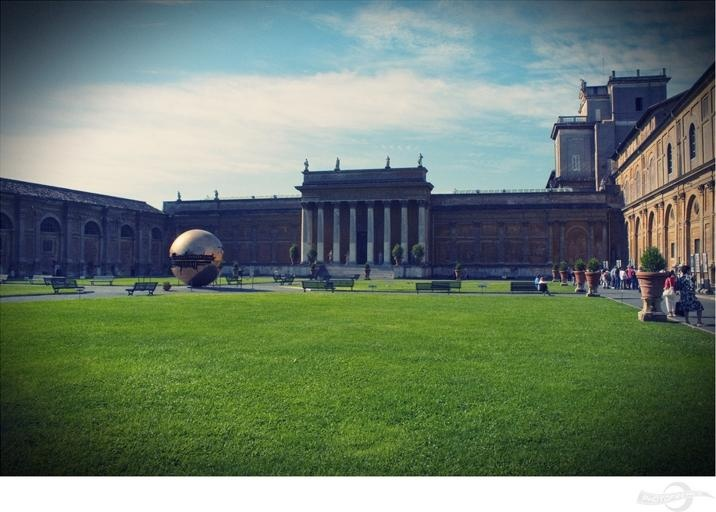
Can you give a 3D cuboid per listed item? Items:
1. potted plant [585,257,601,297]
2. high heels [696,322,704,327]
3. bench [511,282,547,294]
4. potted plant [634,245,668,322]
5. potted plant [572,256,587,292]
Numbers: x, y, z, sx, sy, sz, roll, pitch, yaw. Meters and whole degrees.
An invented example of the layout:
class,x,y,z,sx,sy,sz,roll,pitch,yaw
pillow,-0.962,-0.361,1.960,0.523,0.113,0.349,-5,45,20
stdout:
class,x,y,z,sx,sy,sz,roll,pitch,yaw
potted plant,11.085,0.859,36.498,0.602,1.293,0.595,4,-26,12
high heels,10.658,2.135,24.102,0.201,0.117,0.584,0,-2,24
bench,8.763,1.659,39.439,2.020,0.529,1.897,0,-2,18
potted plant,9.652,0.928,25.358,0.890,2.434,0.991,0,-2,21
potted plant,11.421,1.074,39.807,0.593,1.613,2.113,0,-2,16
